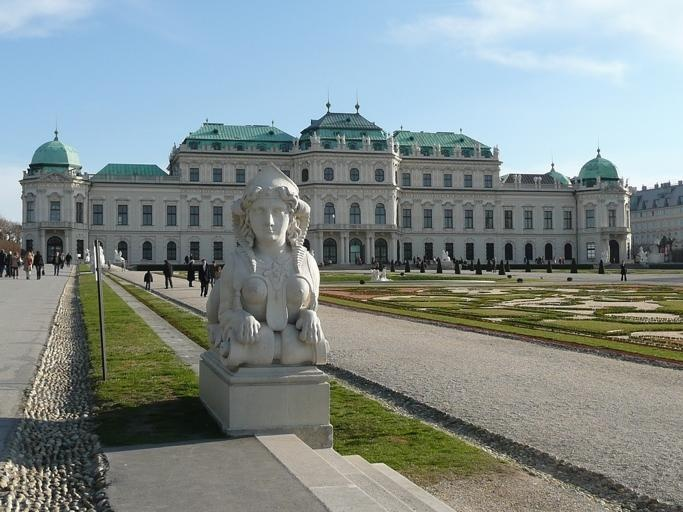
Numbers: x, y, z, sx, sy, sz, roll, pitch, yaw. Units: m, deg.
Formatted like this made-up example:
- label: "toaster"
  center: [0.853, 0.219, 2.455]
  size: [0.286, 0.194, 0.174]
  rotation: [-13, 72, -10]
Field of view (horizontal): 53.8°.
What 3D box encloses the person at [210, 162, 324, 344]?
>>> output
- label: "person"
  center: [-0.771, 0.002, 6.847]
  size: [1.138, 1.832, 0.836]
  rotation: [-1, -1, -6]
